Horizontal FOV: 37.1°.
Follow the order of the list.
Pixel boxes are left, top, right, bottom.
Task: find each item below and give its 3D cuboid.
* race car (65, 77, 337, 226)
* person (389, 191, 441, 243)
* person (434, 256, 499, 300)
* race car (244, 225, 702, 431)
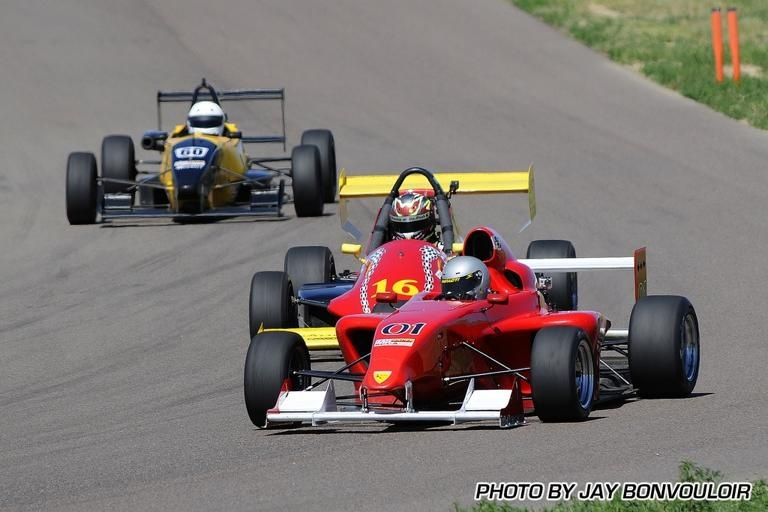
[{"bbox_3d":[-3.906,-1.972,24.662,5.072,2.668,7.243,-2,5,-5],"label":"race car"},{"bbox_3d":[0.408,-0.543,16.296,0.604,0.772,0.829,-4,3,17],"label":"person"},{"bbox_3d":[0.987,0.237,13.840,0.698,0.604,0.555,-20,16,-36],"label":"person"},{"bbox_3d":[1.243,0.911,15.234,4.170,2.471,6.756,-4,-2,31],"label":"race car"}]
